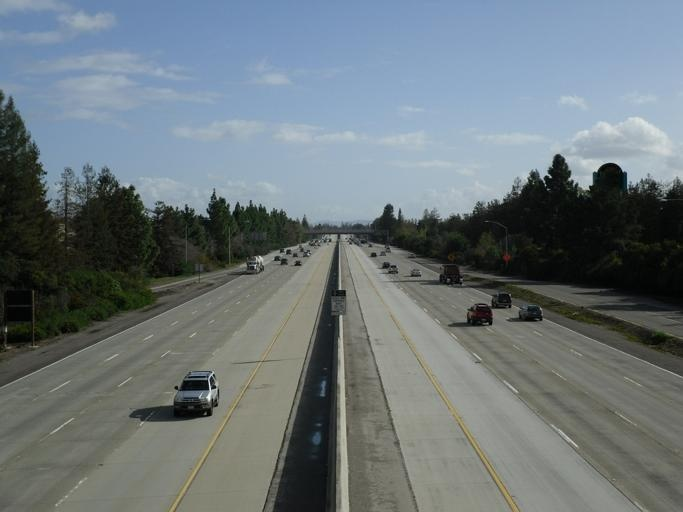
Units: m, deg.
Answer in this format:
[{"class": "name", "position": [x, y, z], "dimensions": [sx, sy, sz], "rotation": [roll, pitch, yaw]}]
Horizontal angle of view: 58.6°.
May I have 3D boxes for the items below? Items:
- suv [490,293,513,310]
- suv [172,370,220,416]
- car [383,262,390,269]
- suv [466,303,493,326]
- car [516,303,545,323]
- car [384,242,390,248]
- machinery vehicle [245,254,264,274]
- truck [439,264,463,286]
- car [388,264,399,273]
[{"class": "suv", "position": [19.910, 5.550, 75.679], "dimensions": [2.267, 1.861, 1.480], "rotation": [1, 6, 16]}, {"class": "suv", "position": [-8.695, 8.320, 37.211], "dimensions": [1.588, 1.496, 3.051], "rotation": [-1, -7, 0]}, {"class": "car", "position": [9.853, 2.125, 135.321], "dimensions": [1.063, 1.128, 2.066], "rotation": [0, 9, 1]}, {"class": "suv", "position": [14.304, 6.087, 63.286], "dimensions": [2.365, 2.033, 2.078], "rotation": [-1, 6, 0]}, {"class": "car", "position": [20.447, 6.212, 66.621], "dimensions": [1.396, 1.343, 2.362], "rotation": [0, 10, 7]}, {"class": "car", "position": [18.013, -3.897, 242.262], "dimensions": [2.714, 1.496, 4.873], "rotation": [-1, 2, 1]}, {"class": "machinery vehicle", "position": [-18.750, 2.098, 130.508], "dimensions": [1.957, 2.726, 6.317], "rotation": [-3, -4, 3]}, {"class": "truck", "position": [18.422, 3.185, 103.870], "dimensions": [2.840, 3.148, 4.298], "rotation": [-1, 6, -1]}, {"class": "car", "position": [11.030, 2.793, 132.157], "dimensions": [1.570, 1.380, 2.974], "rotation": [-1, 0, 1]}]
